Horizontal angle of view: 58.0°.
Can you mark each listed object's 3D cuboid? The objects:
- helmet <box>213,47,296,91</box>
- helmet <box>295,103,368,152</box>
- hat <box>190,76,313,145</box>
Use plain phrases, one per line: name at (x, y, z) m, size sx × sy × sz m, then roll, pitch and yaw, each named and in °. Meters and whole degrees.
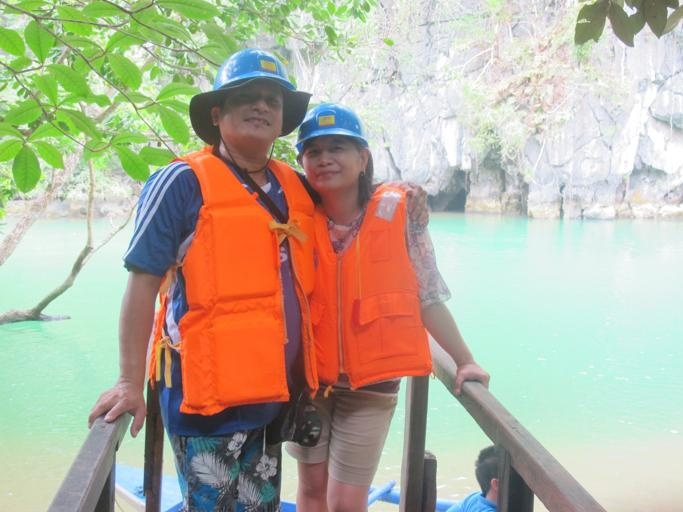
helmet at (-0.347, -0.756, 2.502) m, size 0.285 × 0.176 × 0.368 m, roll -3°, pitch 4°, yaw -27°
helmet at (-0.061, -0.601, 2.746) m, size 0.313 × 0.225 × 0.425 m, roll -5°, pitch 3°, yaw -4°
hat at (-0.370, -0.588, 2.487) m, size 0.418 × 0.187 × 0.492 m, roll -1°, pitch -27°, yaw -14°
